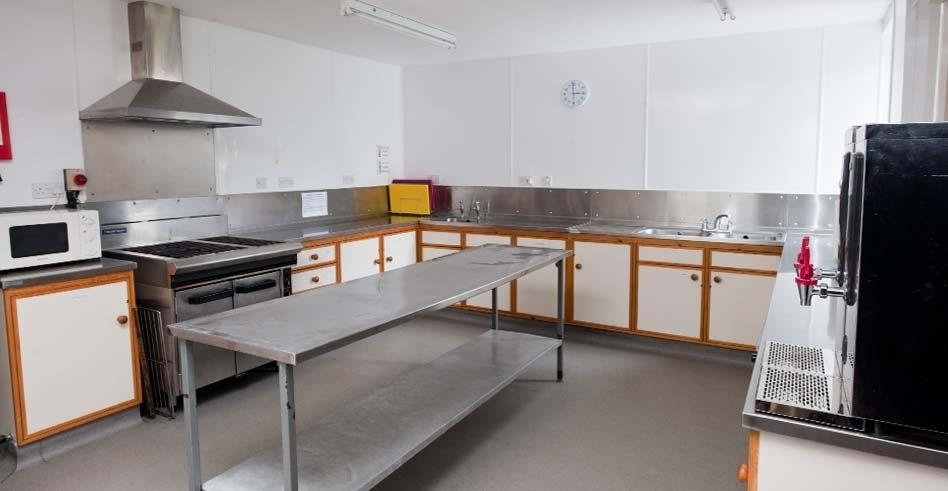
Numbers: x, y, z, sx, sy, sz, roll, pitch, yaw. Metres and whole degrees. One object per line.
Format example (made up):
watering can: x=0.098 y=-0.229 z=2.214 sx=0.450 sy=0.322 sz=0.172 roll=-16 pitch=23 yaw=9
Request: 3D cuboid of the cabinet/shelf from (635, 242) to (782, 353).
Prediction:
cabinet/shelf: x=2.663 y=0.455 z=6.316 sx=1.501 sy=1.126 sz=0.776 roll=4 pitch=17 yaw=29

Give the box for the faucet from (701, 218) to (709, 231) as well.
faucet: x=2.617 y=-0.239 z=6.372 sx=0.092 sy=0.113 sz=0.221 roll=3 pitch=11 yaw=21

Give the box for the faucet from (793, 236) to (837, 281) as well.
faucet: x=2.084 y=0.128 z=3.521 sx=0.145 sy=0.313 sz=0.351 roll=-4 pitch=4 yaw=25

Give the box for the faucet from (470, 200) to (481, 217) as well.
faucet: x=0.023 y=-0.503 z=7.557 sx=0.168 sy=0.196 sz=0.065 roll=6 pitch=13 yaw=34

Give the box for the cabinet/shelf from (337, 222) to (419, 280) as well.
cabinet/shelf: x=-1.021 y=0.190 z=6.948 sx=1.218 sy=0.609 sz=0.407 roll=-11 pitch=-9 yaw=29

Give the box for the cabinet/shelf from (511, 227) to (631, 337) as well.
cabinet/shelf: x=1.156 y=0.382 z=6.324 sx=1.492 sy=0.898 sz=0.547 roll=1 pitch=1 yaw=23

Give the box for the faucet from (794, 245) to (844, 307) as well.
faucet: x=2.115 y=0.183 z=3.405 sx=0.317 sy=0.324 sz=0.271 roll=2 pitch=13 yaw=6

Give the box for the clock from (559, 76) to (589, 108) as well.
clock: x=1.239 y=-1.900 z=6.939 sx=0.375 sy=0.307 sz=0.089 roll=2 pitch=2 yaw=29

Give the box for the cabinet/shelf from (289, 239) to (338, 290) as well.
cabinet/shelf: x=-1.929 y=0.242 z=6.327 sx=0.461 sy=0.541 sz=0.634 roll=15 pitch=18 yaw=35

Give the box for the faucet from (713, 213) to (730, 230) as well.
faucet: x=2.776 y=-0.268 z=6.325 sx=0.183 sy=0.164 sz=0.191 roll=3 pitch=11 yaw=21

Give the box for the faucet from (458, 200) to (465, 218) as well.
faucet: x=-0.177 y=-0.514 z=7.634 sx=0.064 sy=0.208 sz=0.120 roll=-3 pitch=11 yaw=-6
